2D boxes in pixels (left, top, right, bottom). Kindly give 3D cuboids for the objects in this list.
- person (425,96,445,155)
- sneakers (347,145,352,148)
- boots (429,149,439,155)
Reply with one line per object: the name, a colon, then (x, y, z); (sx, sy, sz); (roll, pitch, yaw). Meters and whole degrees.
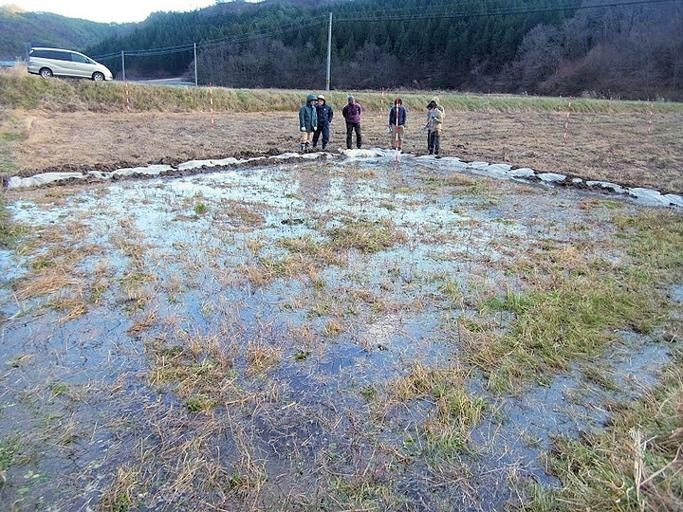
person: (2.863, -4.220, 15.526); (0.489, 1.882, 1.197); (3, 23, 9)
sneakers: (0.178, -3.813, 16.603); (0.137, 0.069, 0.192); (-1, 10, 2)
boots: (2.928, -3.469, 15.929); (0.257, 0.219, 0.264); (-2, 5, -34)
